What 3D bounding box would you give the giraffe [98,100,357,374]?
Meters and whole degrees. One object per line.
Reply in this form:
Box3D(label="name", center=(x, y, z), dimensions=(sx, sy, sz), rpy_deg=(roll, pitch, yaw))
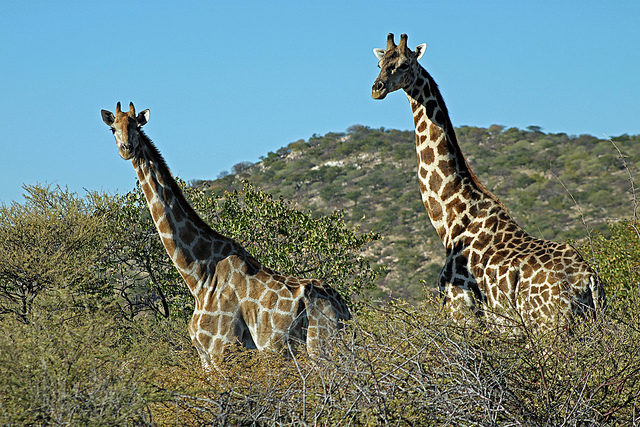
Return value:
Box3D(label="giraffe", center=(-1.976, 0.463, 25.819), dimensions=(5.992, 5.611, 2.909), rpy_deg=(5, 11, 30))
